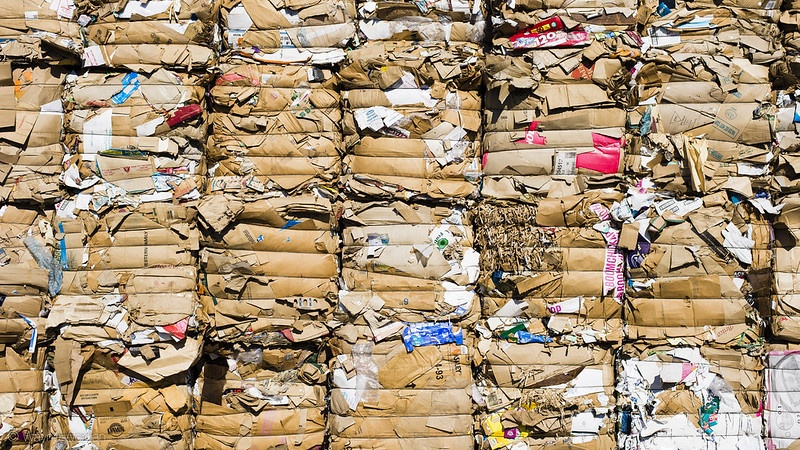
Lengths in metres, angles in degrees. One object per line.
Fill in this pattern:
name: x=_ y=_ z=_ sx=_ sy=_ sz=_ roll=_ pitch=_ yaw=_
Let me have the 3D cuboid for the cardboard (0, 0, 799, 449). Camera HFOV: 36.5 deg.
cardboard: x=0.022 y=0.092 z=13.252 sx=5.174 sy=1.209 sz=4.888 roll=-1 pitch=90 yaw=0
